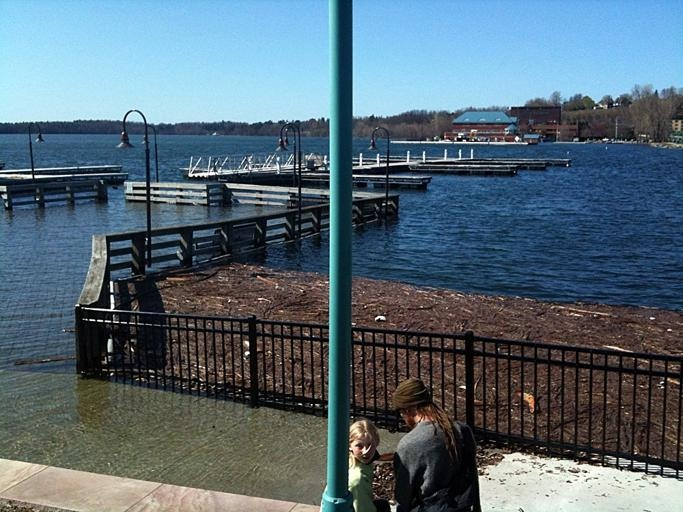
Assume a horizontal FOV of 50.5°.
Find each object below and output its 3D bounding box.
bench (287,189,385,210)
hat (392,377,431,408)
[{"bbox_3d":[-0.325,-2.232,28.670,2.600,0.622,1.842,5,13,26],"label":"bench"},{"bbox_3d":[0.673,1.306,6.864,0.328,0.258,0.265,1,11,37],"label":"hat"}]
